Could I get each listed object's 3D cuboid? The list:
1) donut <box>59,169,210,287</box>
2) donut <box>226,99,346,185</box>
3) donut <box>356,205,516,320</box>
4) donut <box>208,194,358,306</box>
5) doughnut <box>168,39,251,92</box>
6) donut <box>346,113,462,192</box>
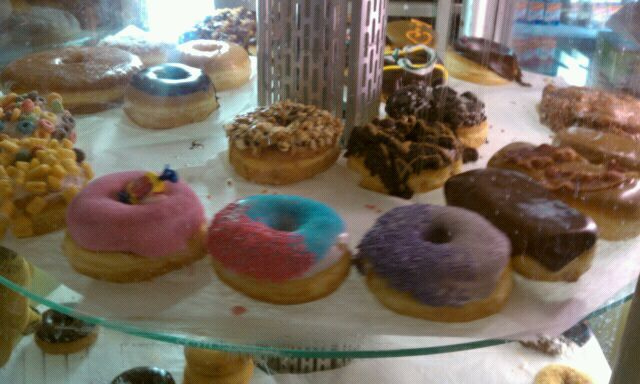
[{"bbox_3d":[-0.428,0.061,1.259,0.360,0.147,0.328,-15,33,-40],"label":"donut"},{"bbox_3d":[-0.107,-0.183,1.531,0.299,0.099,0.320,8,24,30],"label":"donut"},{"bbox_3d":[0.239,0.152,1.149,0.270,0.101,0.246,22,36,34],"label":"donut"},{"bbox_3d":[-0.089,0.122,1.273,0.355,0.133,0.370,10,20,16],"label":"donut"},{"bbox_3d":[-0.296,-0.371,1.488,0.236,0.079,0.224,3,6,4],"label":"doughnut"},{"bbox_3d":[0.219,-0.127,1.375,0.337,0.105,0.286,-8,26,-2],"label":"donut"}]
